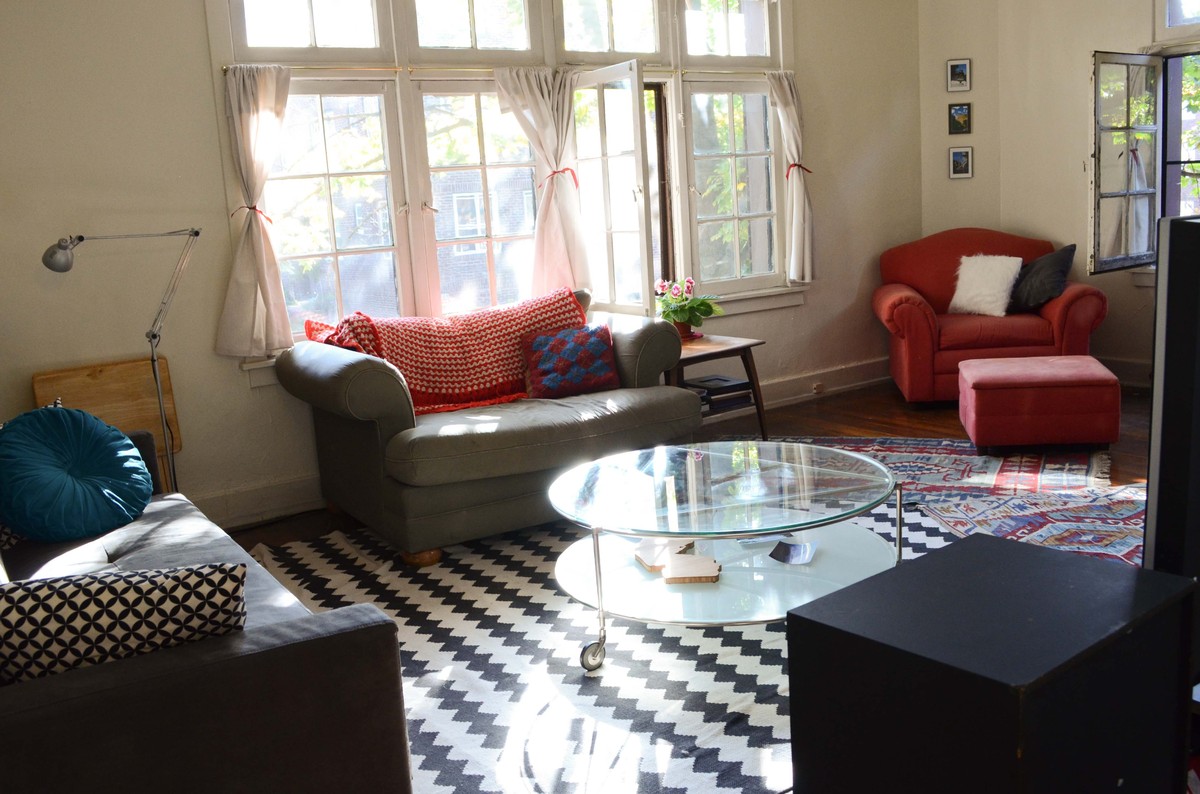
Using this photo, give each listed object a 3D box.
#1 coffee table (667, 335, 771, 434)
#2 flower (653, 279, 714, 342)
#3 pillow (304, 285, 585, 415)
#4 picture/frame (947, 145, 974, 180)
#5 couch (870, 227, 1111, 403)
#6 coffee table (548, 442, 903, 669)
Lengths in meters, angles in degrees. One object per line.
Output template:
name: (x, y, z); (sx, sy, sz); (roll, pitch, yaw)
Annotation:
coffee table: (0.723, -0.116, 5.330); (0.588, 0.501, 0.578); (-12, 19, -6)
flower: (0.557, -0.511, 5.332); (0.454, 0.264, 0.377); (-5, -6, 13)
pillow: (-0.705, -0.242, 4.652); (0.999, 0.316, 0.674); (-10, 18, -30)
picture/frame: (2.746, -1.801, 6.645); (0.257, 0.330, 0.024); (5, 12, 37)
couch: (2.561, -0.566, 5.936); (1.319, 1.058, 1.282); (-4, 15, 4)
coffee table: (0.396, 0.474, 3.152); (0.924, 0.361, 0.940); (5, 12, 43)
